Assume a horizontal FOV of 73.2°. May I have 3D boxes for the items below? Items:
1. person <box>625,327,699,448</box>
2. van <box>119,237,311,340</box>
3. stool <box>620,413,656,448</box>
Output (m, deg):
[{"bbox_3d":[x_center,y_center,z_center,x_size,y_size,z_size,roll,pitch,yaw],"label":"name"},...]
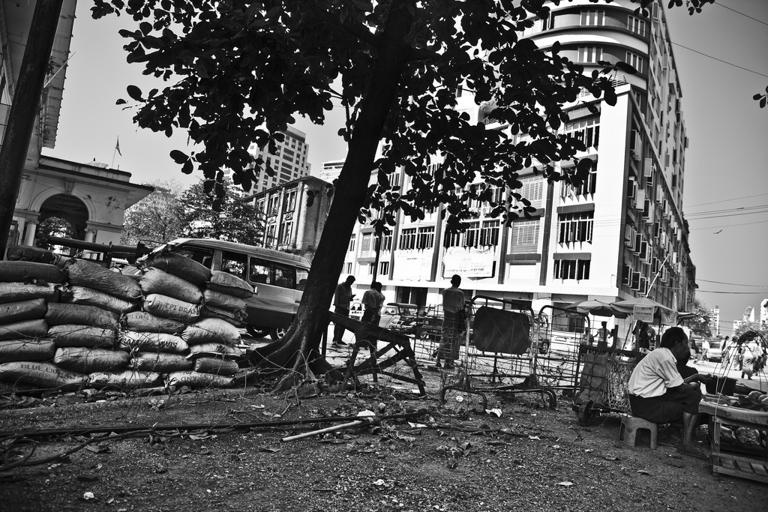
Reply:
[{"bbox_3d":[4.601,2.076,8.490,1.048,1.742,0.833,9,5,28],"label":"person"},{"bbox_3d":[-3.478,0.752,11.138,3.582,1.740,1.928,20,-17,-26],"label":"van"},{"bbox_3d":[4.082,2.889,8.440,0.483,0.428,0.419,17,-16,-11],"label":"stool"}]
